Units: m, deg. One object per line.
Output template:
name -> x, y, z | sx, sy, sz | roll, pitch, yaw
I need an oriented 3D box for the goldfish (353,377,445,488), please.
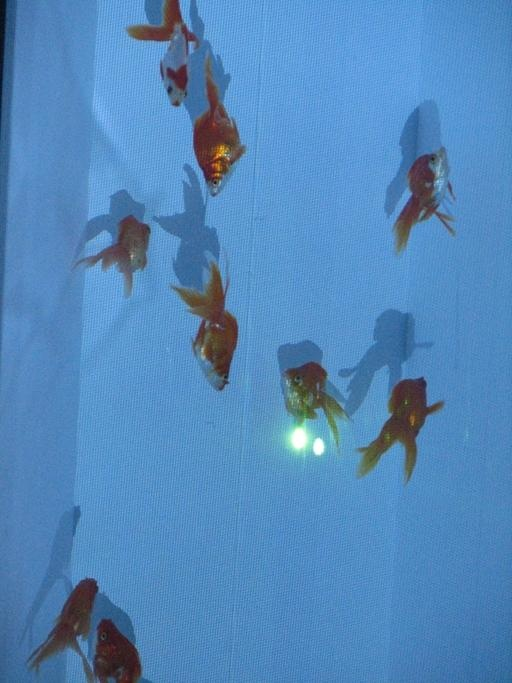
goldfish -> 0.199, 0.119, 2.060 | 0.083, 0.156, 0.066 | 6, -52, 32

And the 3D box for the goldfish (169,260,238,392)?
goldfish -> -0.060, -0.021, 1.968 | 0.078, 0.071, 0.214 | -2, -86, 0
